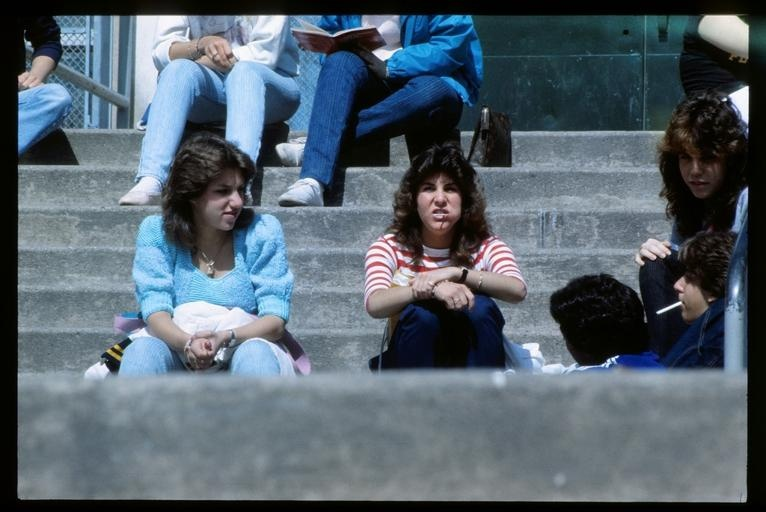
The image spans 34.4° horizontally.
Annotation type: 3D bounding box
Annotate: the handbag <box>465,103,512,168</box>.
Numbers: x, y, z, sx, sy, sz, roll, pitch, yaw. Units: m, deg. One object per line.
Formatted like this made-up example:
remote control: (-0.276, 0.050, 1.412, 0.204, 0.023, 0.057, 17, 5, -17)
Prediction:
handbag: (0.585, -0.674, 7.266, 0.304, 0.344, 0.275, -2, 5, 15)

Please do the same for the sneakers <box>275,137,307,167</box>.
sneakers: (-0.539, -0.610, 7.255, 0.112, 0.123, 0.304, -1, 16, 2)

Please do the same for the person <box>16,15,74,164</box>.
person: (-1.980, -0.991, 7.278, 0.283, 0.814, 0.442, 0, 12, -15)

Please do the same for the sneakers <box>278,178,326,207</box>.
sneakers: (-0.430, -0.337, 6.699, 0.120, 0.111, 0.278, 2, -2, 30)

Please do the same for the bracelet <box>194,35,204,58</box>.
bracelet: (-1.037, -1.170, 6.997, 0.041, 0.093, 0.073, 1, 17, 7)

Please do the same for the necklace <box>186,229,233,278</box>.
necklace: (-0.786, -0.008, 5.743, 0.189, 0.224, 0.084, 11, -4, -1)

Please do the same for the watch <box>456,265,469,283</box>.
watch: (0.363, 0.078, 5.617, 0.051, 0.072, 0.067, 17, 41, 7)

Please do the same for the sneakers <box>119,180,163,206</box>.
sneakers: (-1.264, -0.344, 6.564, 0.115, 0.111, 0.289, -1, 1, 39)

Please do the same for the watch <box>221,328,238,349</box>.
watch: (-0.679, 0.372, 5.517, 0.063, 0.082, 0.028, -1, 13, -19)

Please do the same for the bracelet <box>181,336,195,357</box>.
bracelet: (-0.861, 0.405, 5.481, 0.072, 0.083, 0.035, -1, -9, 2)
